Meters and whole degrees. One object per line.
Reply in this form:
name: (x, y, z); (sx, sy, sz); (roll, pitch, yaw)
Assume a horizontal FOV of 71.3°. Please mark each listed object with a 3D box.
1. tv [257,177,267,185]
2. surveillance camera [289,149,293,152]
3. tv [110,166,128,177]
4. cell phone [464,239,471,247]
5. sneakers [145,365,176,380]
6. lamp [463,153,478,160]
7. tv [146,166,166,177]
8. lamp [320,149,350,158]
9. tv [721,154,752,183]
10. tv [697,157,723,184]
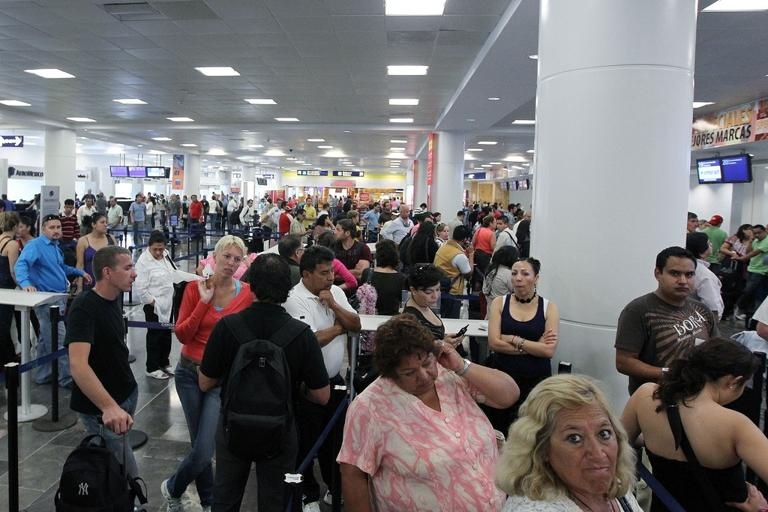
tv: (-10.678, -6.502, 46.332); (0.753, 0.533, 0.178); (-2, 6, -37)
surveillance camera: (-4.934, -5.622, 28.436); (0.193, 0.246, 0.193); (1, 0, -17)
tv: (-14.877, -4.791, 30.259); (1.155, 0.785, 0.630); (2, 12, -6)
cell phone: (1.588, -0.247, 10.260); (0.129, 0.221, 0.086); (4, -16, 20)
sneakers: (-2.958, 1.521, 7.074); (0.313, 0.117, 0.178); (-2, -1, 28)
lamp: (4.487, -5.224, 28.160); (0.737, 0.198, 0.663); (2, 1, 2)
tv: (-12.687, -4.688, 30.238); (1.049, 0.580, 0.671); (1, -7, -4)
lamp: (-2.741, -5.751, 30.078); (0.833, 0.217, 0.895); (-1, 1, 16)
tv: (8.563, -2.147, 13.030); (0.237, 0.637, 0.777); (0, 6, -10)
tv: (8.374, -2.224, 13.848); (0.282, 0.612, 0.987); (2, 6, 10)
